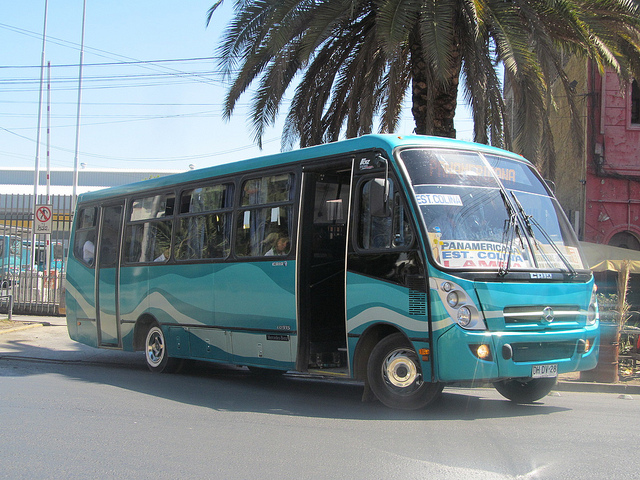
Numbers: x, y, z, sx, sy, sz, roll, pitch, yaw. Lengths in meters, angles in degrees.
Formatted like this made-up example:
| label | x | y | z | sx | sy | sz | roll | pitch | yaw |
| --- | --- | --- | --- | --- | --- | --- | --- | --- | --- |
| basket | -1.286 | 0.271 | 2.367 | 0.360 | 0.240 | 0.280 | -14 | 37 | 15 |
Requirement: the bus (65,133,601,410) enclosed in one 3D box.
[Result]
| label | x | y | z | sx | sy | sz | roll | pitch | yaw |
| --- | --- | --- | --- | --- | --- | --- | --- | --- | --- |
| bus | -0.856 | 0.734 | 10.918 | 10.622 | 4.092 | 3.159 | -4 | -5 | 41 |

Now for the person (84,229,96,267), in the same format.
| label | x | y | z | sx | sy | sz | roll | pitch | yaw |
| --- | --- | --- | --- | --- | --- | --- | --- | --- | --- |
| person | -5.829 | 0.114 | 13.198 | 0.422 | 1.289 | 0.136 | 4 | -46 | -24 |
